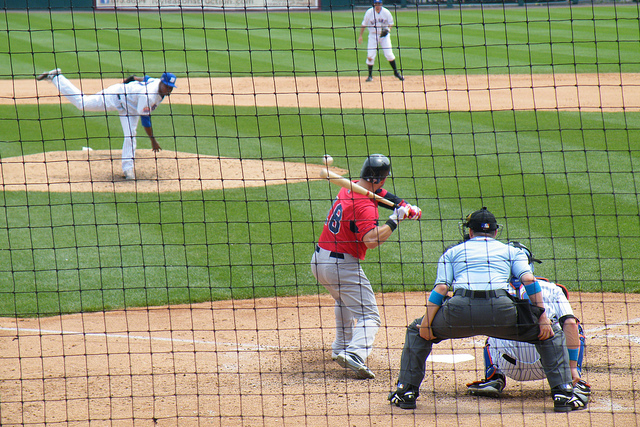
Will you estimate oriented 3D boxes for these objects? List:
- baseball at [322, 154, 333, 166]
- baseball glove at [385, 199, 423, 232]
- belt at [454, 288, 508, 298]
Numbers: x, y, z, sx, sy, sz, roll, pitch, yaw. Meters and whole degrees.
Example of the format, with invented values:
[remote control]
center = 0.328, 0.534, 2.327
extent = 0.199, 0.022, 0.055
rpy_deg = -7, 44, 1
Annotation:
[baseball]
center = 0.100, -0.862, 19.450
extent = 0.198, 0.113, 0.201
rpy_deg = 8, 2, 23
[baseball glove]
center = 1.399, 0.090, 19.346
extent = 0.629, 0.216, 0.554
rpy_deg = -23, 9, -1
[belt]
center = 2.515, 1.271, 18.756
extent = 0.799, 0.120, 0.090
rpy_deg = 2, 14, 3
